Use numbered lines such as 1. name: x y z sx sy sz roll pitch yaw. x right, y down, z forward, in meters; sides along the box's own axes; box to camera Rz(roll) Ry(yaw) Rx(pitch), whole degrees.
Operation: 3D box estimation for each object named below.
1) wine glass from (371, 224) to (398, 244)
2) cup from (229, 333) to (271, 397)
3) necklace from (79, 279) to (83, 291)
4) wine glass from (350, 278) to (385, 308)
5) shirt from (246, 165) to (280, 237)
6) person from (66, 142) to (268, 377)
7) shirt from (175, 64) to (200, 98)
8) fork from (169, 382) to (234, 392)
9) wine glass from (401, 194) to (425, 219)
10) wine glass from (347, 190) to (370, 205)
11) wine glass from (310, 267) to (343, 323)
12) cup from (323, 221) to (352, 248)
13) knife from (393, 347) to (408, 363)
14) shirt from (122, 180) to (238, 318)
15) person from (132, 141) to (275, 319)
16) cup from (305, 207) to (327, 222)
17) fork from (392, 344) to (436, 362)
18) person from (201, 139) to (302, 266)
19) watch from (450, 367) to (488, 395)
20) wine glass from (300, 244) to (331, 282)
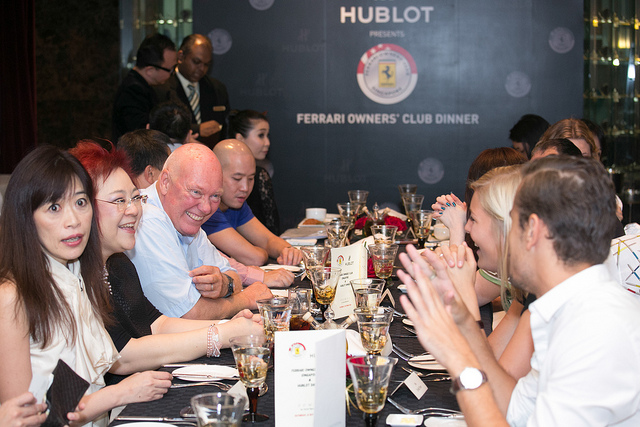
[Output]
1. wine glass: 0.382 0.131 3.087 0.121 0.094 0.122 0 -4 19
2. cup: -0.219 0.468 1.576 0.153 0.239 0.170 1 -4 -5
3. necklace: -0.938 0.285 1.920 0.008 0.045 0.011 -7 -3 1
4. wine glass: 0.205 0.371 2.150 0.152 0.163 0.153 3 -4 2
5. shirt: -0.501 -0.006 4.839 0.180 0.749 0.310 -14 -14 -9
6. person: -0.497 0.199 2.393 1.176 0.902 0.761 12 7 -12
7. shirt: -1.485 -1.490 5.580 0.153 0.349 0.328 2 7 29
8. fork: -0.425 0.627 1.755 0.203 0.018 0.028 -2 36 10
9. wine glass: 0.768 -0.053 4.104 0.189 0.222 0.179 0 -1 8
10. wine glass: 0.331 -0.147 4.623 0.145 0.127 0.153 3 3 43
11. wine glass: 0.022 0.351 2.251 0.122 0.207 0.092 3 8 33
12. cup: 0.116 0.172 3.471 0.227 0.215 0.219 -2 -2 0
13. knife: 0.317 0.575 1.967 0.018 0.026 0.085 1 19 -37
14. shirt: -0.752 0.230 2.797 0.851 0.328 0.672 12 20 22
15. person: -0.583 0.059 2.806 0.979 0.858 0.687 8 10 9
16. cup: -0.050 0.013 5.109 0.142 0.119 0.142 3 4 0
17. fork: 0.367 0.572 1.936 0.166 0.032 0.094 -3 11 9
18. person: -0.621 -0.044 3.788 1.071 0.948 0.675 7 10 8
19. watch: 0.403 0.461 1.345 0.089 0.055 0.093 -21 -16 -3
20. wine glass: -0.027 0.266 2.577 0.144 0.180 0.162 1 -1 5
